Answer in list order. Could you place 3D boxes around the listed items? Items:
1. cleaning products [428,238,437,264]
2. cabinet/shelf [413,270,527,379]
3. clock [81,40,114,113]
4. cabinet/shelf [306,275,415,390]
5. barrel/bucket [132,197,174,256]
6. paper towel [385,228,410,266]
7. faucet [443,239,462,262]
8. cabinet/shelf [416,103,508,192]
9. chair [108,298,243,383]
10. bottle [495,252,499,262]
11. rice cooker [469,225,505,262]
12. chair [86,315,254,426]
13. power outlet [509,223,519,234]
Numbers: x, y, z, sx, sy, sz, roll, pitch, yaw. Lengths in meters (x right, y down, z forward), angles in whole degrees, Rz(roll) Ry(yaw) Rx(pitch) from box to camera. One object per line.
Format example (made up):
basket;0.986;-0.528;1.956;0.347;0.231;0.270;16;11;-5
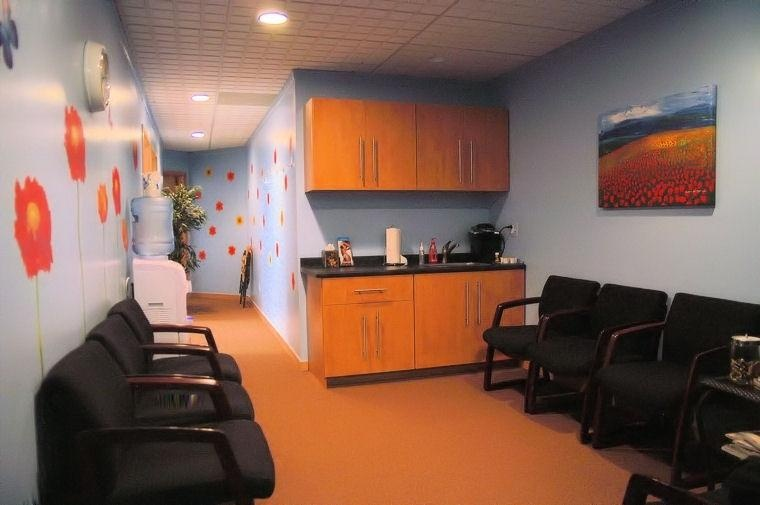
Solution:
cleaning products;0.544;-0.027;5.240;0.082;0.238;0.218;-1;9;7
cabinet/shelf;0.763;0.652;4.679;1.002;0.834;0.376;0;0;-16
clock;-1.664;-1.027;3.001;0.138;0.387;0.282;-7;11;-28
cabinet/shelf;-0.265;0.602;4.904;1.164;1.105;0.840;0;-1;-15
barrel/bucket;-1.892;-0.211;4.266;0.320;0.498;0.213;-6;10;-23
paper towel;0.127;-0.059;4.978;0.325;0.444;0.276;0;0;-4
faucet;0.724;-0.014;5.277;0.167;0.209;0.295;0;9;10
cabinet/shelf;0.765;-1.023;4.972;0.896;0.739;0.340;0;0;-13
chair;-1.323;0.602;3.526;0.778;0.648;0.536;-2;3;-9
bottle;1.159;0.037;5.058;0.055;0.087;0.036;-7;11;-30
rice cooker;1.086;-0.125;5.175;0.331;0.349;0.297;-5;13;14
chair;-1.158;0.700;2.979;0.812;0.603;0.573;0;5;-11
power outlet;1.331;-0.232;5.090;0.021;0.081;0.086;4;-2;-34
